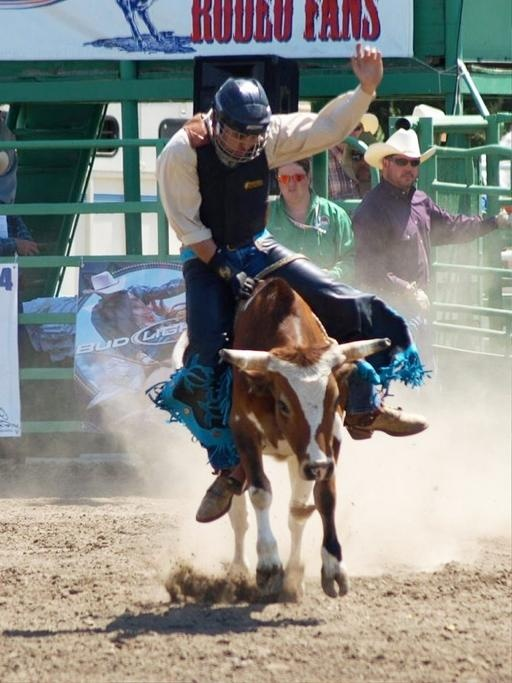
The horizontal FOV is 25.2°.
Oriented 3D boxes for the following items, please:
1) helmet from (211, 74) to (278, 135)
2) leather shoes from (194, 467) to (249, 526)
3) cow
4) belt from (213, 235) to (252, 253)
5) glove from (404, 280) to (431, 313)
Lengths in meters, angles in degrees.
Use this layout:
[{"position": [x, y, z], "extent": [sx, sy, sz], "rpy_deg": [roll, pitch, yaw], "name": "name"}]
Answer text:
[{"position": [-0.083, -1.143, 5.473], "extent": [0.238, 0.264, 0.297], "rpy_deg": [-6, 31, -28], "name": "helmet"}, {"position": [-0.166, 0.788, 5.750], "extent": [0.162, 0.362, 0.141], "rpy_deg": [31, -25, 15], "name": "leather shoes"}, {"position": [0.178, 0.508, 5.531], "extent": [0.701, 1.596, 1.075], "rpy_deg": [-3, 7, -8], "name": "cow"}, {"position": [-0.095, -0.488, 5.831], "extent": [0.118, 0.108, 0.030], "rpy_deg": [11, 22, -8], "name": "belt"}, {"position": [1.036, -0.281, 7.288], "extent": [0.147, 0.190, 0.080], "rpy_deg": [-22, 17, 13], "name": "glove"}]
